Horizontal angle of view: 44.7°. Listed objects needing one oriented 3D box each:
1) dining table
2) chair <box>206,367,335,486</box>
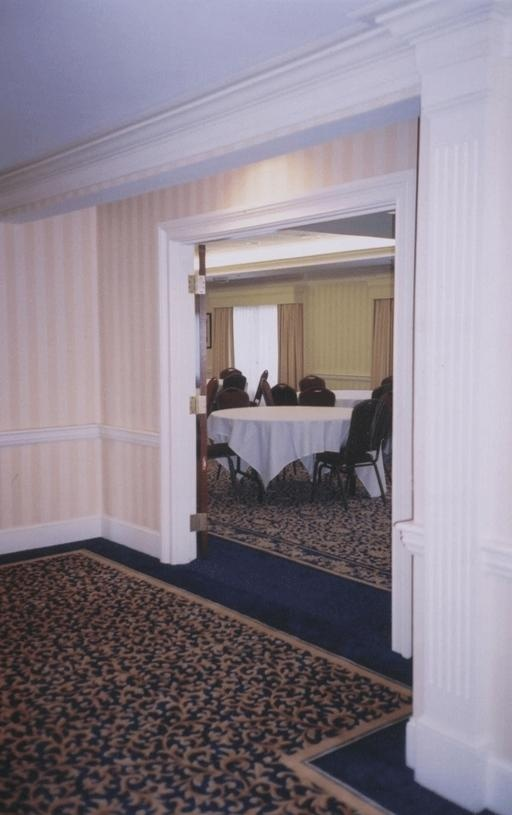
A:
[{"bbox_3d":[0.085,0.276,5.651,0.898,0.418,0.887,-3,5,-31],"label":"dining table"},{"bbox_3d":[0.251,0.183,7.772,1.176,1.998,1.301,0,2,-8],"label":"chair"}]
